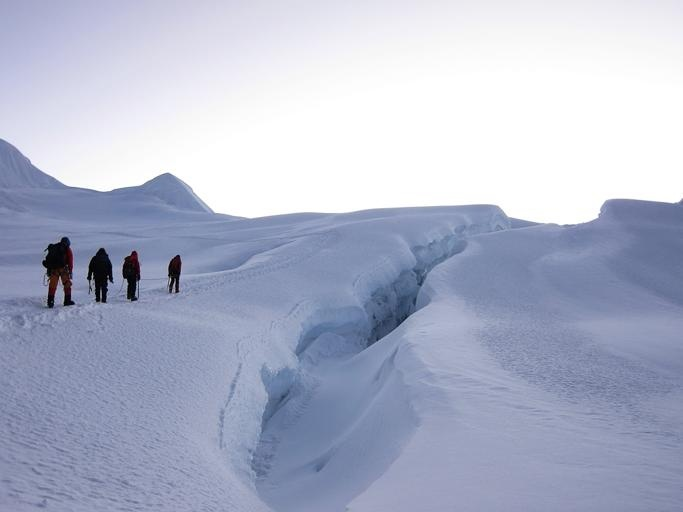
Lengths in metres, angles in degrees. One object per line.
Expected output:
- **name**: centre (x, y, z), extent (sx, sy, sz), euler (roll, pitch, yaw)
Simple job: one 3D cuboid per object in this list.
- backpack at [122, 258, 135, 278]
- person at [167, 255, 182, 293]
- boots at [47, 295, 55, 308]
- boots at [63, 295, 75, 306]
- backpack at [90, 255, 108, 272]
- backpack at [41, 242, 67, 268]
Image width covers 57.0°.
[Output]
- **backpack**: centre (-6.532, 0.361, 19.438), extent (0.350, 0.644, 0.384), euler (-8, 7, -31)
- **person**: centre (-5.756, 0.584, 21.777), extent (0.494, 1.302, 1.721), euler (-6, 6, -15)
- **boots**: centre (-7.626, 1.185, 16.625), extent (0.149, 0.327, 0.303), euler (-7, 7, -26)
- **boots**: centre (-7.279, 1.188, 17.052), extent (0.195, 0.319, 0.349), euler (5, 3, 25)
- **backpack**: centre (-6.931, 0.216, 18.179), extent (0.427, 0.369, 0.222), euler (7, 10, -8)
- **backpack**: centre (-7.543, -0.002, 16.710), extent (0.558, 0.709, 0.337), euler (-7, 7, -25)
